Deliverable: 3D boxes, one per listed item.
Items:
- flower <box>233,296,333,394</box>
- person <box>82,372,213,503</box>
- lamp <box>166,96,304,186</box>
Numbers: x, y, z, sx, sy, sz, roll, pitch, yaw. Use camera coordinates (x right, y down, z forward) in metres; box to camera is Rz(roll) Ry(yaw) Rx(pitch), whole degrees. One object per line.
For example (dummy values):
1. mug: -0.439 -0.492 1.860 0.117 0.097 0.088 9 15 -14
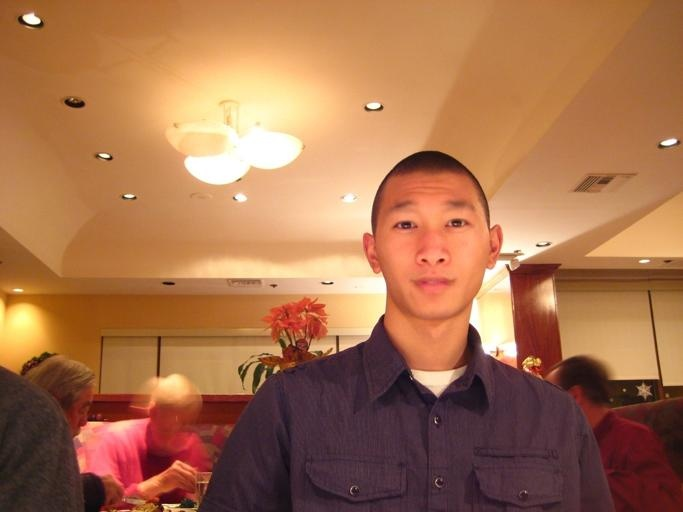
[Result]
1. flower: -0.163 0.407 2.322 0.277 0.388 0.281 -17 -4 -10
2. person: -0.954 1.007 2.871 0.581 0.590 0.766 17 -27 -31
3. lamp: -0.525 -0.686 2.794 0.558 0.300 0.725 0 -3 33
